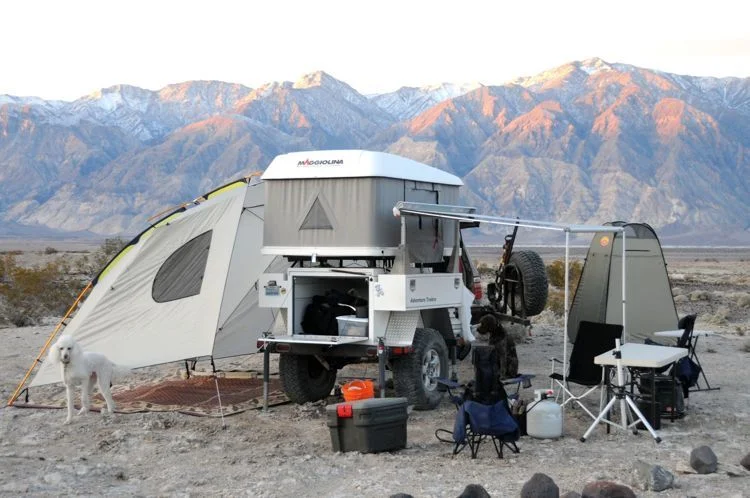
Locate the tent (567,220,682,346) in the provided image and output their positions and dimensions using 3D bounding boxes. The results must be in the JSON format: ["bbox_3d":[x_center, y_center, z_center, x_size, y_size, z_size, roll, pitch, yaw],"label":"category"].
[{"bbox_3d":[5.669,0.606,14.918,2.205,2.961,2.600,-1,5,-27],"label":"tent"}]

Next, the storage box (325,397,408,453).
[{"bbox_3d":[-0.098,2.455,9.320,1.127,0.712,0.332,-1,-2,-6],"label":"storage box"}]

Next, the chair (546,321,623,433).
[{"bbox_3d":[3.575,1.929,11.010,1.324,2.007,1.445,1,1,38],"label":"chair"}]

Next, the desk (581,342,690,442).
[{"bbox_3d":[3.889,2.049,10.162,1.281,1.778,1.727,4,8,38],"label":"desk"}]

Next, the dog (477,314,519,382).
[{"bbox_3d":[2.508,1.893,13.557,0.779,1.466,0.967,-3,-1,-7],"label":"dog"}]
